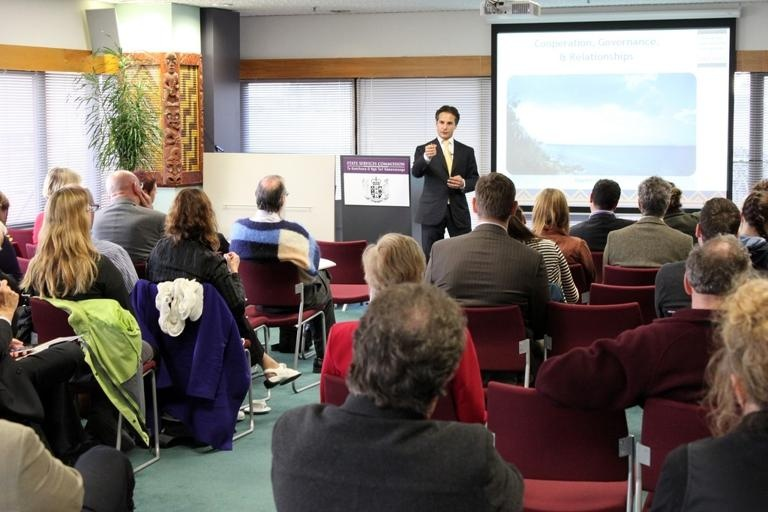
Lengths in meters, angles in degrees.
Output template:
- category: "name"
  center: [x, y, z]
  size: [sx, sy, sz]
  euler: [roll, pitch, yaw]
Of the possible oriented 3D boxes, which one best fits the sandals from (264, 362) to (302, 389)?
- category: "sandals"
  center: [-0.760, 0.892, 4.577]
  size: [0.299, 0.142, 0.144]
  euler: [-10, 8, -36]
